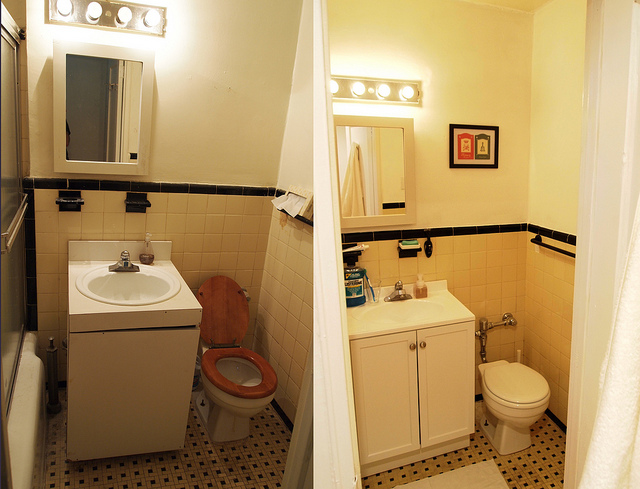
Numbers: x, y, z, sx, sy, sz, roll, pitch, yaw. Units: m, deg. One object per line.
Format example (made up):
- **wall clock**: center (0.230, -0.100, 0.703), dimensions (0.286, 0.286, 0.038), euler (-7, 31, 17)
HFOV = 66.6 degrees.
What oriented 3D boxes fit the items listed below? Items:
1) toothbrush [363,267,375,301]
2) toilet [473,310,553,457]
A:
- **toothbrush**: center (0.211, 0.157, 2.130), dimensions (0.025, 0.211, 0.028), euler (-5, 14, 25)
- **toilet**: center (0.852, 0.653, 2.237), dimensions (0.259, 0.491, 0.464), euler (-5, 14, -5)
